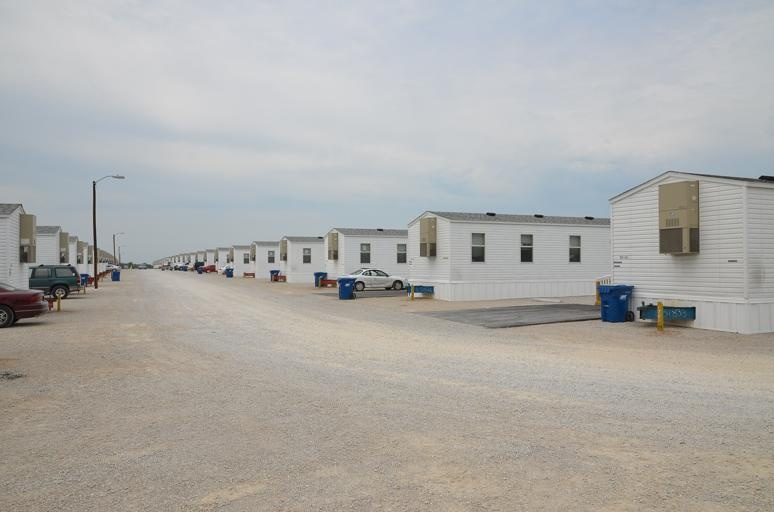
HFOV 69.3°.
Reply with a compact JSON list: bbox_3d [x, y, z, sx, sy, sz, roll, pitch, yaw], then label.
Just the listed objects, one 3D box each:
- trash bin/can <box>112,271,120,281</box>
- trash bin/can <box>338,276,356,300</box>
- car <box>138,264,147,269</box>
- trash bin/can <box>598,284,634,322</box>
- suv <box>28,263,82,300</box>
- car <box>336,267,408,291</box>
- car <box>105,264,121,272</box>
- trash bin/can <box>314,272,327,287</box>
[{"bbox_3d":[-27.665,2.066,56.914,1.095,0.902,0.778,-1,2,-36],"label":"trash bin/can"},{"bbox_3d":[-2.112,1.695,29.072,0.808,1.152,1.067,-1,9,-5],"label":"trash bin/can"},{"bbox_3d":[-62.235,2.723,142.179,2.225,1.247,3.243,1,-1,-27],"label":"car"},{"bbox_3d":[7.696,1.544,18.375,1.329,1.250,1.302,1,-2,-13],"label":"trash bin/can"},{"bbox_3d":[-18.577,1.473,31.044,4.292,1.834,2.023,0,-2,5],"label":"suv"},{"bbox_3d":[-0.872,1.468,36.044,3.935,0.968,1.621,0,-2,-22],"label":"car"},{"bbox_3d":[-45.769,1.949,93.181,3.394,0.826,1.839,-4,0,-13],"label":"car"},{"bbox_3d":[-5.026,1.776,41.283,1.199,1.204,1.198,-3,-3,21],"label":"trash bin/can"}]
